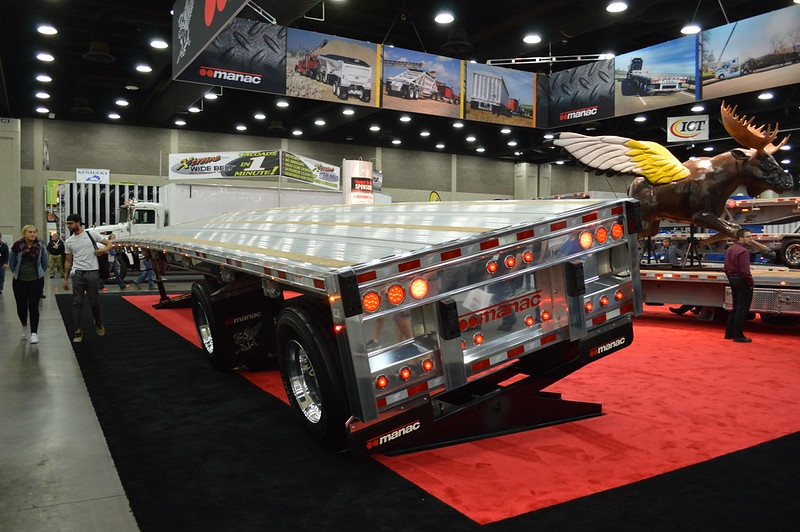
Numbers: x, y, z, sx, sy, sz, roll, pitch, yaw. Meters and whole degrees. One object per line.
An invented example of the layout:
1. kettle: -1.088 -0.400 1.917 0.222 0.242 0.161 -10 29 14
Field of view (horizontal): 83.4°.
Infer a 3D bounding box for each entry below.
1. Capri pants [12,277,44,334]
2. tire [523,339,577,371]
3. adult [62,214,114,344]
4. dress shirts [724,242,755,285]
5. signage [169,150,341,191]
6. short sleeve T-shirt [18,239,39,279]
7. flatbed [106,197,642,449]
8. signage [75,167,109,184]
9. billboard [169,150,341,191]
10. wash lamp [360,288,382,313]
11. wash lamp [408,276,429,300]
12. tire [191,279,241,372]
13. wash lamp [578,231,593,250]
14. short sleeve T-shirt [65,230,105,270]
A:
1. Capri pants: -7.040 0.649 8.527 0.502 1.184 0.467 0 0 -10
2. tire: 1.547 0.951 4.650 0.371 0.143 0.420 -22 -4 37
3. adult: -6.150 0.183 8.810 0.682 2.240 0.924 -13 -8 41
4. dress shirts: 6.579 -0.052 8.670 0.362 0.815 0.453 -6 8 -43
5. signage: -5.689 -3.857 17.835 6.481 1.272 1.645 -2 6 -19
6. short sleeve T-shirt: -6.867 -0.116 8.267 0.330 0.792 0.208 0 6 2
7. flatbed: -1.113 0.337 7.214 4.000 1.935 7.593 -14 13 -36
8. signage: -16.355 -4.768 23.722 1.706 0.871 0.043 0 2 -23
9. billboard: -5.690 -3.857 17.838 6.481 1.272 1.640 -2 6 -19
10. wash lamp: -0.228 0.283 3.596 0.165 0.154 0.037 27 -2 -27
11. wash lamp: 0.161 0.186 3.729 0.176 0.161 0.040 20 -2 -31
12. tire: -2.662 0.860 6.530 0.476 1.196 1.260 -12 16 -31
13. wash lamp: 1.819 -0.253 4.377 0.041 0.157 0.159 23 34 -24
14. short sleeve T-shirt: -6.102 -0.299 8.755 0.790 0.820 0.389 -9 7 -5
